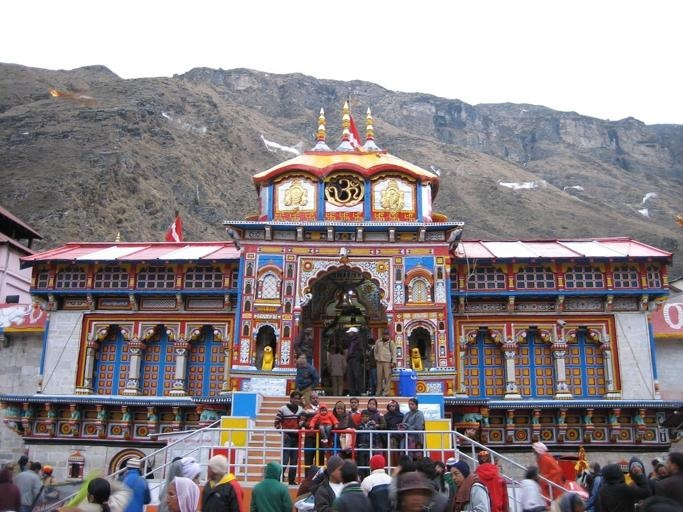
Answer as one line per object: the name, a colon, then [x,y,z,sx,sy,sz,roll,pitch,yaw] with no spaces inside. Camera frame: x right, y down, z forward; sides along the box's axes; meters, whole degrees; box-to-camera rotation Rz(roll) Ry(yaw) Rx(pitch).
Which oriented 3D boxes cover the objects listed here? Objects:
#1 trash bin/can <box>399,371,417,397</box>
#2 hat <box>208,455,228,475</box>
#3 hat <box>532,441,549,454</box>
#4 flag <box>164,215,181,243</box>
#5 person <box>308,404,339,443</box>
trash bin/can: [2.178,4.184,23.948,0.537,0.952,0.388,0,-21,6]
hat: [-2.254,3.806,13.194,0.352,0.341,0.340,4,-19,-7]
hat: [4.159,4.029,15.154,0.242,0.222,0.443,-2,-17,11]
flag: [-7.523,-1.201,32.756,0.571,1.549,1.766,6,-19,-9]
person: [-0.444,4.176,17.933,0.667,0.937,0.544,-17,-27,41]
